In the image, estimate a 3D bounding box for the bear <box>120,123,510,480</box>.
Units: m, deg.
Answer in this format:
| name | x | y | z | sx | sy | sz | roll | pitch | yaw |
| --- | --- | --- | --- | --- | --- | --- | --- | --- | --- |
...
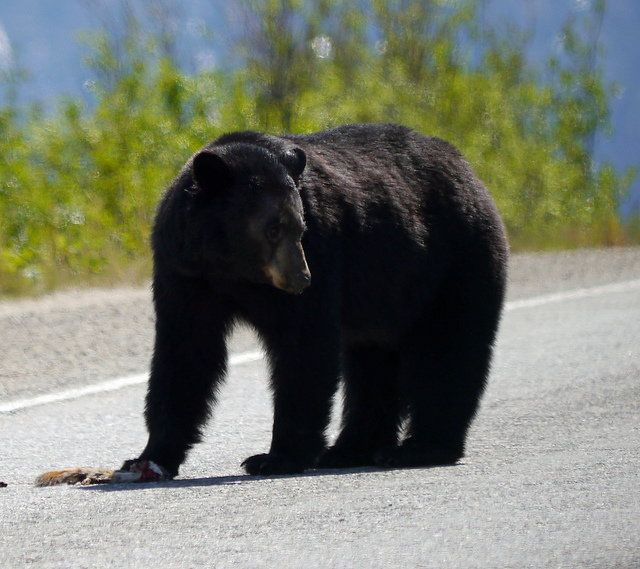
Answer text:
| name | x | y | z | sx | sy | sz | roll | pitch | yaw |
| --- | --- | --- | --- | --- | --- | --- | --- | --- | --- |
| bear | -0.083 | 0.102 | 8.057 | 1.921 | 2.427 | 3.211 | 1 | 2 | 44 |
